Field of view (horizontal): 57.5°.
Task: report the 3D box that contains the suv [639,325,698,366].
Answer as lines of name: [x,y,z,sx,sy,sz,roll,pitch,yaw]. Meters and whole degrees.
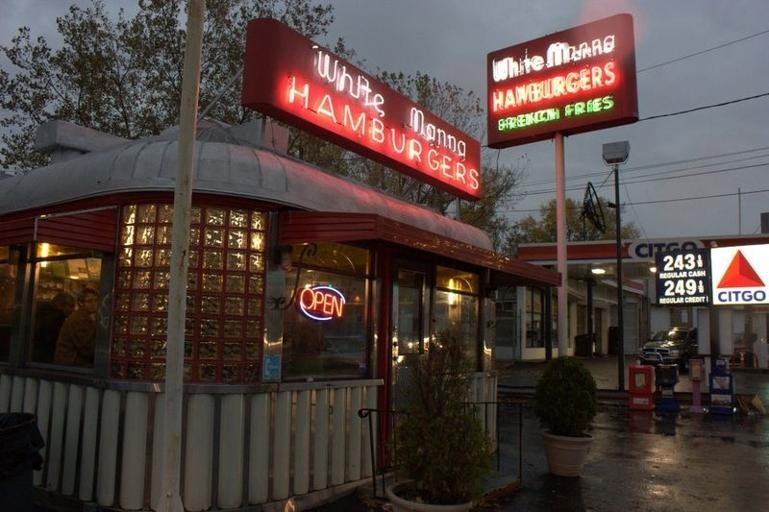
suv: [13.506,4.342,33.475,2.013,1.907,3.527,-7,-10,42]

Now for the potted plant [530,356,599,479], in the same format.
potted plant: [3.406,3.004,13.222,1.105,2.231,0.501,-2,-7,13]
